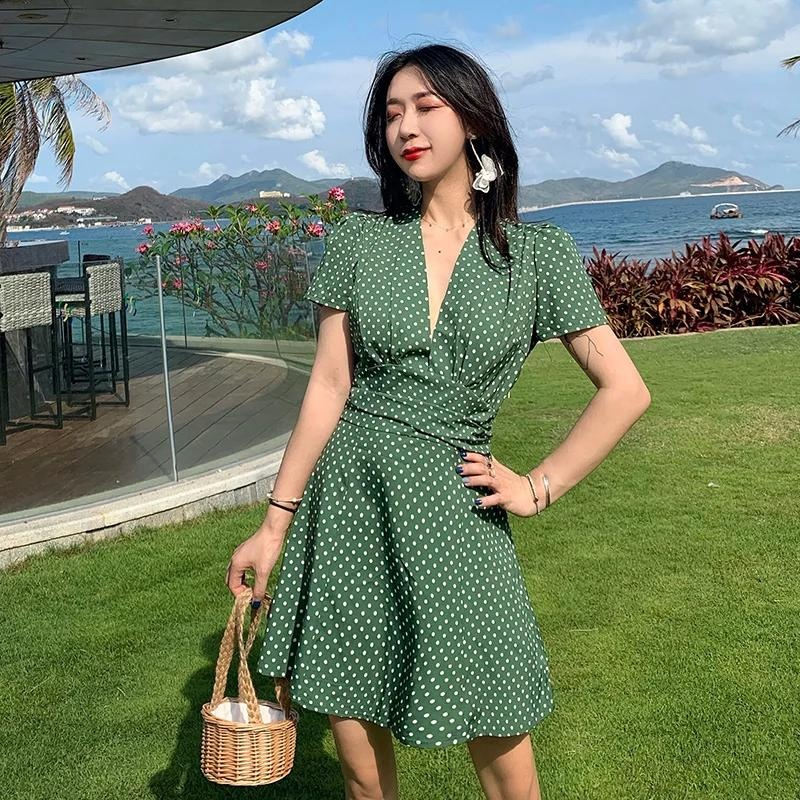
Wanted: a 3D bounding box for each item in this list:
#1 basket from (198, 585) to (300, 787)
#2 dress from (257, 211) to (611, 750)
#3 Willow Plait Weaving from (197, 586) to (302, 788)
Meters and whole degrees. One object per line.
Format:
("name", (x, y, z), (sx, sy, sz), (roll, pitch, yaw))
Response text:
("basket", (-0.292, 0.573, 1.229), (0.181, 0.329, 0.162), (1, -7, -21))
("dress", (0.026, 0.090, 1.008), (0.472, 0.828, 0.422), (6, 12, 40))
("Willow Plait Weaving", (-0.300, 0.572, 1.236), (0.183, 0.340, 0.164), (1, -10, -8))
